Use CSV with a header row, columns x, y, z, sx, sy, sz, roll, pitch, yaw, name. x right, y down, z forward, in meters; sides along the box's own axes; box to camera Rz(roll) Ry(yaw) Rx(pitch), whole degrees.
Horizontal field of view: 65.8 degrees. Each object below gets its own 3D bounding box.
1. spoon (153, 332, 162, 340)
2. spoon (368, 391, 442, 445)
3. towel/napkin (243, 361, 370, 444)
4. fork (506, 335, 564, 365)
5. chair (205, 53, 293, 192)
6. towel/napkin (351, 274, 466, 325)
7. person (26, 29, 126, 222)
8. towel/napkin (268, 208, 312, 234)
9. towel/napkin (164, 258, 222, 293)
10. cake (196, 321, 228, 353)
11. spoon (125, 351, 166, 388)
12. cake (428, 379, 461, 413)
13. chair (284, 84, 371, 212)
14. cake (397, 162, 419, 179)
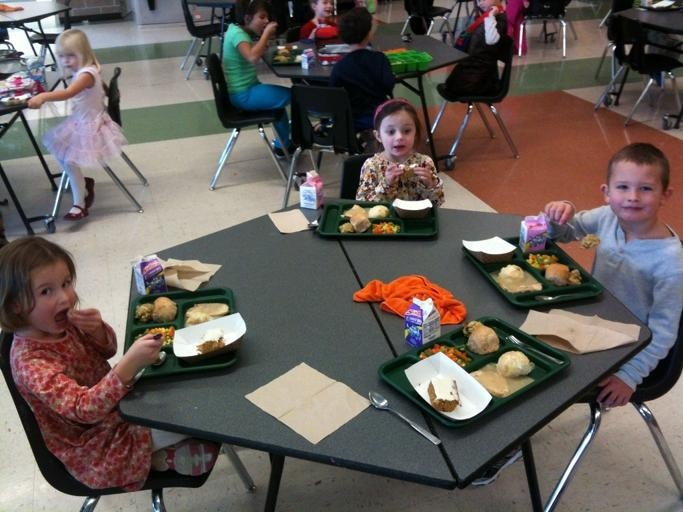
x,y,z,sx,sy,sz,roll,pitch,yaw,name
-0.589,0.257,1.689,0.025,0.017,0.032,-14,36,-16,spoon
0.168,0.476,1.624,0.077,0.046,0.338,-34,30,-21,spoon
-0.104,0.456,1.649,0.323,0.029,0.217,22,41,31,towel/napkin
0.644,0.317,1.754,0.202,0.013,0.040,27,44,36,fork
-0.876,-1.301,4.683,0.715,1.099,1.063,-6,35,-5,chair
0.262,0.150,1.954,0.305,0.054,0.187,6,34,36,towel/napkin
-2.014,-0.982,4.061,0.570,1.343,0.725,-6,35,-4,person
-0.235,-0.158,2.444,0.130,0.019,0.143,-11,43,-23,towel/napkin
-0.611,0.075,2.112,0.166,0.055,0.135,13,36,20,towel/napkin
-0.444,0.269,1.776,0.072,0.026,0.071,-20,29,-35,cake
-0.633,0.369,1.744,0.040,0.045,0.152,39,75,13,spoon
0.313,0.424,1.624,0.094,0.044,0.123,3,25,-1,cake
-0.091,-0.883,4.142,0.608,0.888,0.701,9,28,14,chair
0.349,-0.427,2.731,0.102,0.041,0.100,23,44,25,cake
